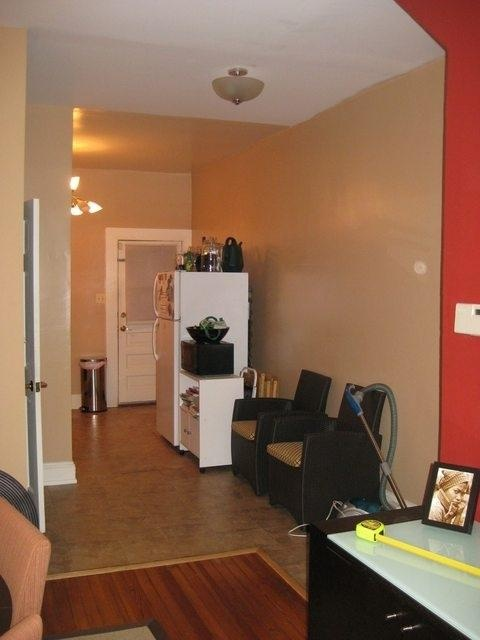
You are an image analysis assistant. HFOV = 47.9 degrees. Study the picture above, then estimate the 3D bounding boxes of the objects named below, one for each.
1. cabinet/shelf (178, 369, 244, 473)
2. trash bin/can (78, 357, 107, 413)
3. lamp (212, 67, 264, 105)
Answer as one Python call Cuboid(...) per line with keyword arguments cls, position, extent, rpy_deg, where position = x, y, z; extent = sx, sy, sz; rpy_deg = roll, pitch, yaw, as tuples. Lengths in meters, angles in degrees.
Cuboid(cls="cabinet/shelf", position=(-0.267, 0.786, 4.517), extent=(0.372, 0.700, 0.693), rpy_deg=(-2, 5, -20))
Cuboid(cls="trash bin/can", position=(-1.761, 0.771, 6.464), extent=(0.295, 0.639, 0.275), rpy_deg=(0, 1, -15))
Cuboid(cls="lamp", position=(-0.043, -1.470, 3.382), extent=(0.207, 0.094, 0.215), rpy_deg=(4, 5, 19))
